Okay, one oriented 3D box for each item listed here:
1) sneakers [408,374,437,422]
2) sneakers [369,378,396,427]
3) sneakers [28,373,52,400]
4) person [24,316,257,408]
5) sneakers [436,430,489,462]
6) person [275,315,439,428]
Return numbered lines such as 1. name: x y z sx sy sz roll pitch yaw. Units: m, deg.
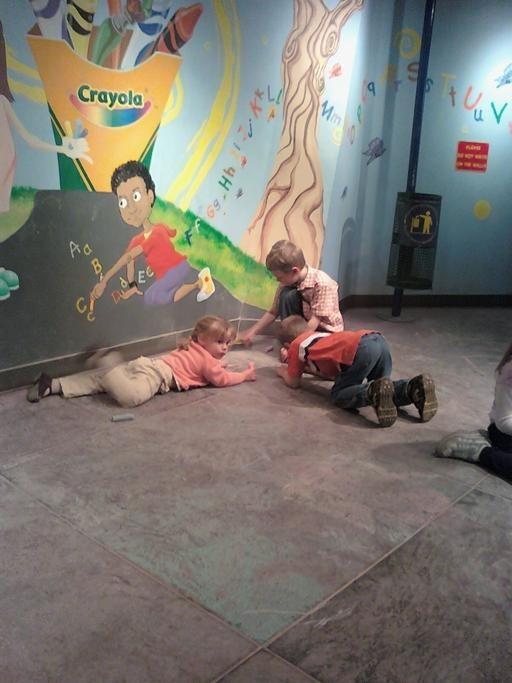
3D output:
1. sneakers: 0.890 0.276 2.268 0.105 0.314 0.126 -10 11 -11
2. sneakers: 0.647 0.307 2.229 0.108 0.277 0.118 -2 -1 -23
3. sneakers: -1.166 0.250 2.297 0.104 0.131 0.130 5 9 17
4. person: -0.646 0.033 2.559 1.148 0.496 0.493 -4 8 -32
5. sneakers: 0.906 0.460 1.919 0.234 0.102 0.112 -3 16 29
6. person: 0.532 0.064 2.503 0.419 0.432 0.995 -7 24 -39
